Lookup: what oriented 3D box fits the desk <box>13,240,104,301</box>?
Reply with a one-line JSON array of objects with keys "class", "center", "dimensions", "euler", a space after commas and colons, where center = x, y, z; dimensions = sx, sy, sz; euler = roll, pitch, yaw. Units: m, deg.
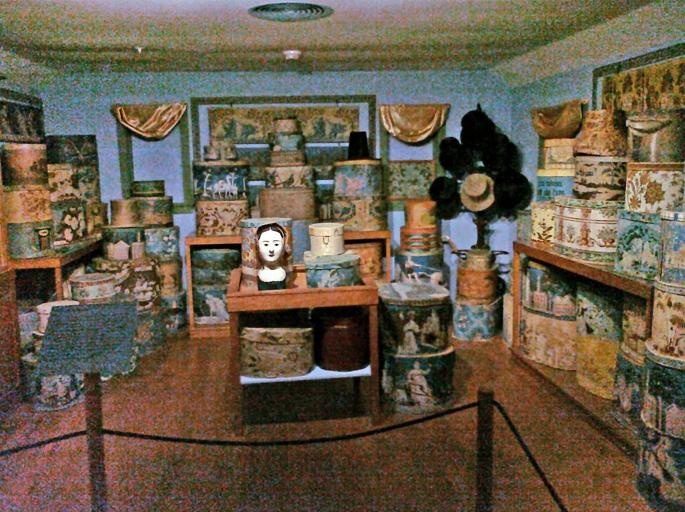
[{"class": "desk", "center": [-2.183, 0.209, 4.589], "dimensions": [0.284, 0.328, 0.994], "euler": [-2, -4, -13]}]

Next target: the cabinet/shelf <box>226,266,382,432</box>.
[{"class": "cabinet/shelf", "center": [-0.259, 0.560, 3.870], "dimensions": [0.903, 0.797, 0.909], "euler": [-1, 0, -7]}]
